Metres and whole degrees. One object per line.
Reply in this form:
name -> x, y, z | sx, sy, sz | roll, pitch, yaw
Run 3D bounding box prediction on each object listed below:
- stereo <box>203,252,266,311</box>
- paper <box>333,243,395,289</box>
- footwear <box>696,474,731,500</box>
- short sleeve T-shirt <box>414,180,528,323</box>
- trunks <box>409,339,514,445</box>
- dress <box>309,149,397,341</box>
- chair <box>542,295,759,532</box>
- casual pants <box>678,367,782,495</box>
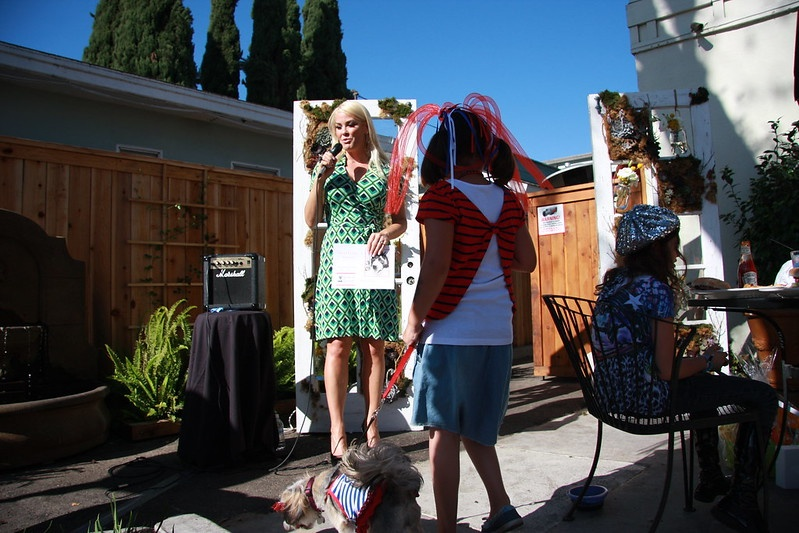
stereo -> -1.365, 0.126, 5.243 | 0.609, 0.760, 0.415 | 0, -3, 0
paper -> -0.289, -0.002, 4.646 | 0.492, 0.380, 0.106 | -3, -2, -7
footwear -> 2.111, 1.486, 3.961 | 0.329, 0.163, 0.114 | 6, -21, -32
short sleeve T-shirt -> 0.449, -0.105, 3.640 | 0.854, 1.024, 0.471 | 4, -4, -22
trunks -> 0.329, 0.620, 3.815 | 0.754, 0.922, 0.497 | 3, -1, -8
dress -> -0.346, -0.154, 4.877 | 0.571, 1.632, 0.451 | -2, 24, -7
chair -> 1.673, 0.925, 4.461 | 1.245, 2.060, 1.547 | -3, -5, -9
casual pants -> 2.184, 1.127, 3.894 | 0.561, 0.779, 0.564 | 9, -3, 40
